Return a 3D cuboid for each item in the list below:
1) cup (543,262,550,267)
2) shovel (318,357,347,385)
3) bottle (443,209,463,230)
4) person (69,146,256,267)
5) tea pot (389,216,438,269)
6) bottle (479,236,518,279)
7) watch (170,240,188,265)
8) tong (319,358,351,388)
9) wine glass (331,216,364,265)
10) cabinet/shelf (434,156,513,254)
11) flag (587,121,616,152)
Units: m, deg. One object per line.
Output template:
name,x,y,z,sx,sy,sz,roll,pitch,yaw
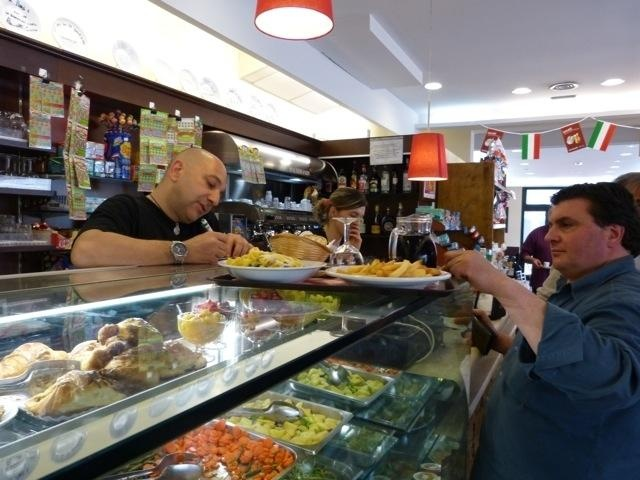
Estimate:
cup,2.943,0.343,5.375,0.082,0.075,0.081,0,-8,0
shovel,0.034,0.330,1.013,0.045,0.056,0.147,30,-3,13
bottle,1.619,-0.204,5.120,0.306,0.281,0.309,3,13,13
person,-0.827,-0.095,2.181,0.885,0.564,0.726,-2,-14,35
tea pot,0.316,0.021,1.483,0.206,0.194,0.157,-10,15,-41
bottle,2.009,0.186,4.636,0.489,0.237,0.641,5,-8,19
watch,-0.649,0.063,1.962,0.070,0.106,0.103,0,-32,-29
tong,0.041,0.334,1.017,0.048,0.054,0.156,19,-4,12
wine glass,0.097,0.015,1.575,0.137,0.186,0.128,5,12,9
cabinet/shelf,2.391,-0.773,5.947,0.417,1.096,1.288,5,31,33
flag,4.114,-1.538,6.076,0.274,0.439,0.388,12,16,29
